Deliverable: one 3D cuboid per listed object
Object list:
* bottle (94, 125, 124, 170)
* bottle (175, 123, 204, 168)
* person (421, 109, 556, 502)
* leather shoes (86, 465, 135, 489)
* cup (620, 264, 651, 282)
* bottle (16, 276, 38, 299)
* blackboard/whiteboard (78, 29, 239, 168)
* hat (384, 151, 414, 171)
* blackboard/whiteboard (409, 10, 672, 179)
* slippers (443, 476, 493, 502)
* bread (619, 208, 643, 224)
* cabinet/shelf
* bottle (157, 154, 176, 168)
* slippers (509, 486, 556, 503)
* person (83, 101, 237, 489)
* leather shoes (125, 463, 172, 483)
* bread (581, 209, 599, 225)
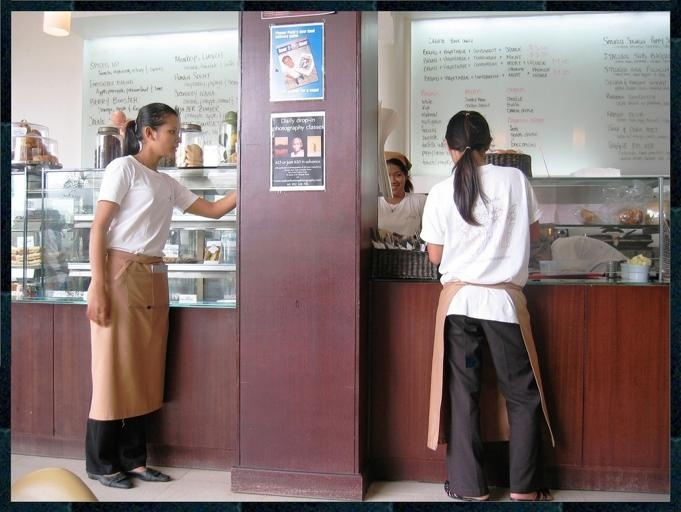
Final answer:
[{"bbox_3d":[-1.396,-0.656,4.058,0.162,0.245,0.149,7,13,-2],"label":"bottle"},{"bbox_3d":[-0.947,-0.676,4.096,0.173,0.278,0.188,2,12,0],"label":"bottle"},{"bbox_3d":[0.722,0.243,3.305,0.609,1.947,0.198,-1,2,5],"label":"person"},{"bbox_3d":[-1.219,1.156,3.470,0.257,0.061,0.091,4,5,19],"label":"leather shoes"},{"bbox_3d":[1.536,0.089,3.427,0.093,0.075,0.114,2,-6,-6],"label":"cup"},{"bbox_3d":[-1.805,0.184,3.756,0.138,0.118,0.020,-1,2,9],"label":"bottle"},{"bbox_3d":[-1.353,-1.206,5.013,1.521,1.075,0.161,-1,-4,9],"label":"blackboard/whiteboard"},{"bbox_3d":[0.425,-0.721,4.869,0.207,0.139,0.261,3,8,5],"label":"hat"},{"bbox_3d":[1.738,-1.354,5.324,1.774,1.059,0.025,0,2,9],"label":"blackboard/whiteboard"},{"bbox_3d":[0.638,1.184,3.323,0.232,0.103,0.087,5,0,37],"label":"slippers"},{"bbox_3d":[1.652,-0.225,3.724,0.102,0.093,0.027,6,-12,28],"label":"bread"},{"bbox_3d":[-1.456,-0.067,4.332,0.591,0.975,1.672,3,3,33],"label":"cabinet/shelf"},{"bbox_3d":[-1.022,-0.560,3.851,0.107,0.092,0.081,-21,14,-29],"label":"bottle"},{"bbox_3d":[0.952,1.186,3.282,0.142,0.033,0.081,-4,-3,-1],"label":"slippers"},{"bbox_3d":[-1.062,0.332,3.541,0.620,1.728,0.272,-2,2,-27],"label":"person"},{"bbox_3d":[-1.022,1.160,3.489,0.234,0.058,0.091,3,1,6],"label":"leather shoes"},{"bbox_3d":[1.428,-0.229,3.760,0.124,0.091,0.033,-2,2,-14],"label":"bread"}]
